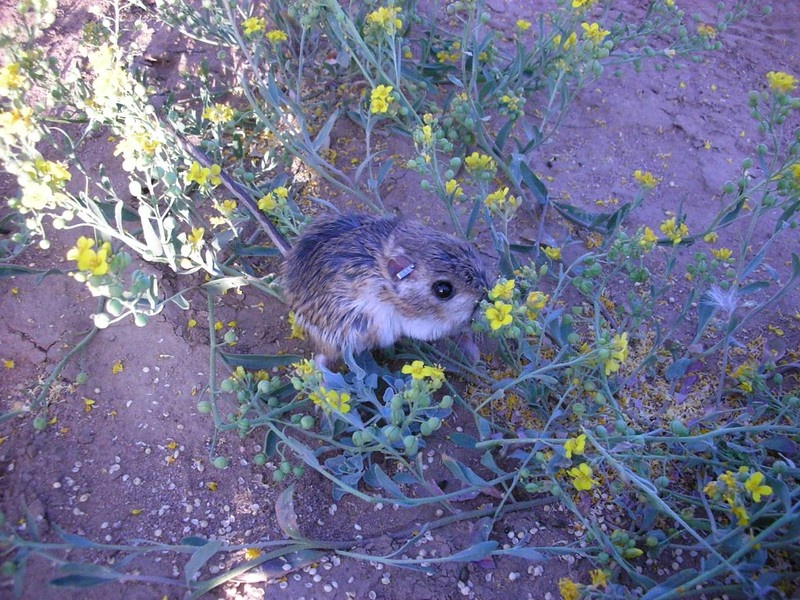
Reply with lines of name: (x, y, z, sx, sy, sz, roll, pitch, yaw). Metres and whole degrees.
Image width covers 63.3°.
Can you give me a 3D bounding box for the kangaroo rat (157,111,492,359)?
kangaroo rat: (-0.132, -0.024, 3.893, 1.183, 0.971, 0.569, 24, 35, -11)
